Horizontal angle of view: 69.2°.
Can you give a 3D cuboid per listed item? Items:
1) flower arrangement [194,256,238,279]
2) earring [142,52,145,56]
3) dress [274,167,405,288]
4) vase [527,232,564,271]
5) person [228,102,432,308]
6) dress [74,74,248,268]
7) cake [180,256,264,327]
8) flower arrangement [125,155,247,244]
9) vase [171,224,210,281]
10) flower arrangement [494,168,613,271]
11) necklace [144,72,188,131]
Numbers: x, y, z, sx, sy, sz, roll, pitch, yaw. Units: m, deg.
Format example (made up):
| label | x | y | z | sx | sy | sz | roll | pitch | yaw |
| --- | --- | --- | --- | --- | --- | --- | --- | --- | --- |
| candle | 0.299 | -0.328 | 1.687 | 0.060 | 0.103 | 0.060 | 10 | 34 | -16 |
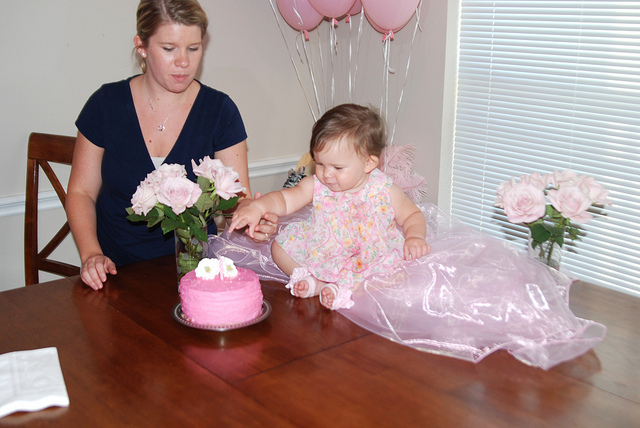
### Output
| label | x | y | z | sx | sy | sz | roll | pitch | yaw |
| --- | --- | --- | --- | --- | --- | --- | --- | --- | --- |
| flower arrangement | -0.356 | 0.179 | 1.556 | 0.144 | 0.060 | 0.045 | -7 | 24 | -7 |
| earring | -0.768 | -0.694 | 1.997 | 0.003 | 0.012 | 0.012 | 7 | 20 | 43 |
| dress | 0.065 | 0.043 | 1.769 | 0.502 | 0.324 | 0.393 | 1 | 24 | 10 |
| vase | 0.857 | 0.131 | 1.738 | 0.080 | 0.132 | 0.087 | 6 | -2 | -3 |
| person | 0.098 | -0.031 | 1.796 | 0.714 | 0.722 | 0.502 | 13 | 26 | 16 |
| dress | -0.700 | -0.183 | 2.004 | 0.787 | 0.836 | 0.416 | 1 | 25 | -13 |
| cake | -0.320 | 0.242 | 1.545 | 0.224 | 0.176 | 0.228 | 11 | 18 | 36 |
| flower arrangement | -0.473 | -0.041 | 1.607 | 0.371 | 0.278 | 0.204 | -15 | 26 | -23 |
| vase | -0.464 | 0.137 | 1.651 | 0.122 | 0.214 | 0.122 | 5 | 25 | 3 |
| flower arrangement | 0.854 | 0.022 | 1.721 | 0.373 | 0.358 | 0.231 | -7 | 24 | -8 |
| necklace | -0.720 | -0.518 | 2.115 | 0.216 | 0.246 | 0.010 | 13 | 6 | -14 |
